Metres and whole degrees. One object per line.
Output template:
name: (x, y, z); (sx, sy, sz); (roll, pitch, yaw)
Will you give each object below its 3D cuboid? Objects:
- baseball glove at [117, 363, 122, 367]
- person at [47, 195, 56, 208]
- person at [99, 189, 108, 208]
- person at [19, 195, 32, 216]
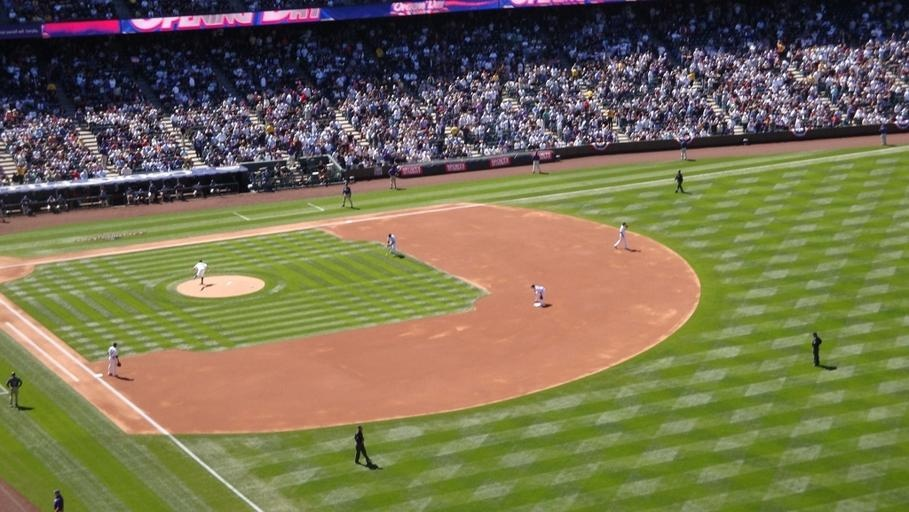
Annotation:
baseball glove: (-24.800, 8.134, 102.869); (0.421, 0.076, 0.283); (8, 25, -4)
person: (-37.079, -5.122, 127.921); (0.880, 1.078, 0.355); (-13, 24, -12)
person: (-32.599, -5.544, 129.217); (0.884, 1.687, 0.397); (-16, 25, -15)
person: (-39.244, -4.705, 127.252); (0.949, 1.721, 0.441); (-14, 25, -12)
